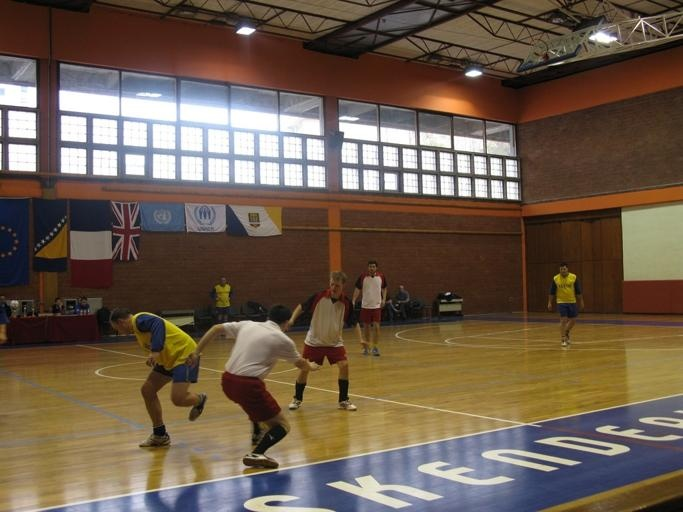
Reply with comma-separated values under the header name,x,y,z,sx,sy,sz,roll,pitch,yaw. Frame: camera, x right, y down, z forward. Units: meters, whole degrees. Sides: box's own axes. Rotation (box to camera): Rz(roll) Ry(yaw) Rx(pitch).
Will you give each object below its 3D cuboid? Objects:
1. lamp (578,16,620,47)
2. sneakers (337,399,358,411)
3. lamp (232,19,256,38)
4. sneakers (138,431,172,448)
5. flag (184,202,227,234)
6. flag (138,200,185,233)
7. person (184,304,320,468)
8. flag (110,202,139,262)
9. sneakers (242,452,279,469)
name,x,y,z,sx,sy,sz,roll,pitch,yaw
lamp,8.061,-6.970,17.968,1.032,1.139,1.340,-2,-2,28
sneakers,0.084,1.968,7.579,0.262,0.096,0.097,-3,-3,33
lamp,-3.046,-7.287,18.258,0.575,0.253,0.444,-1,-2,10
sneakers,-1.979,1.940,6.052,0.358,0.125,0.117,0,-11,0
flag,-4.794,-1.339,19.991,1.394,0.852,0.053,1,-1,-31
flag,-6.107,-1.328,19.255,1.397,0.803,0.194,-1,-4,-27
person,-0.811,1.195,5.418,0.945,1.456,0.530,-1,-1,-5
flag,-7.003,-0.802,18.706,0.874,1.937,0.208,-1,-1,-19
sneakers,-0.732,1.836,5.224,0.358,0.112,0.141,8,9,12
